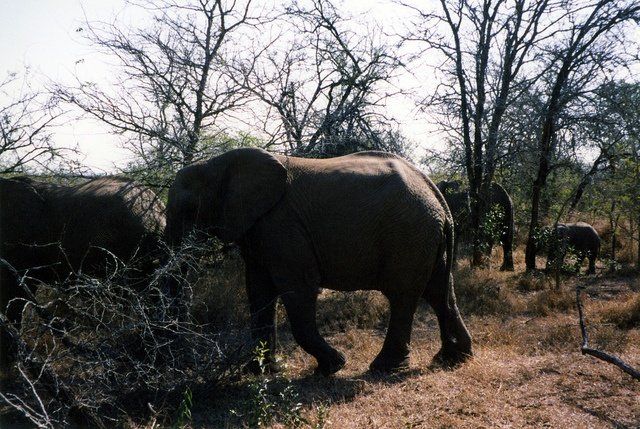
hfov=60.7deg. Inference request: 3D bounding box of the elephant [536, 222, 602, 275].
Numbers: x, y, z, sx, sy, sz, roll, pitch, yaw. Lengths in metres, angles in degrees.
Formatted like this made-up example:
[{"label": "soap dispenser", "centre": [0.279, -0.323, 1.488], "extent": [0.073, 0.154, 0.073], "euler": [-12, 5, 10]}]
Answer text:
[{"label": "elephant", "centre": [6.439, 0.909, 14.221], "extent": [1.193, 1.330, 3.335], "euler": [3, 3, 32]}]
